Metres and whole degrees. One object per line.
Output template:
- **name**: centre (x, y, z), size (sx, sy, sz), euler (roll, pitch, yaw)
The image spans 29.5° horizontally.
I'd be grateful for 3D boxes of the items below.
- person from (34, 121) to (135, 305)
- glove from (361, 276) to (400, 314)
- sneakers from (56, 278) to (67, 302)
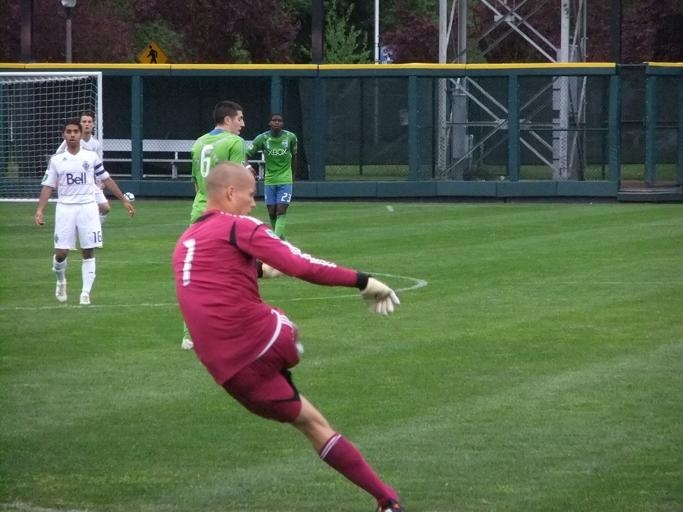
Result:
- **person**: centre (-4.029, -0.686, 19.966), size (0.822, 2.784, 1.050), euler (1, 5, 38)
- **glove**: centre (0.457, 0.462, 13.981), size (0.246, 0.455, 0.373), euler (-30, 42, -28)
- **sneakers**: centre (-4.274, 0.531, 19.893), size (0.153, 0.396, 0.195), euler (-4, 14, -8)
